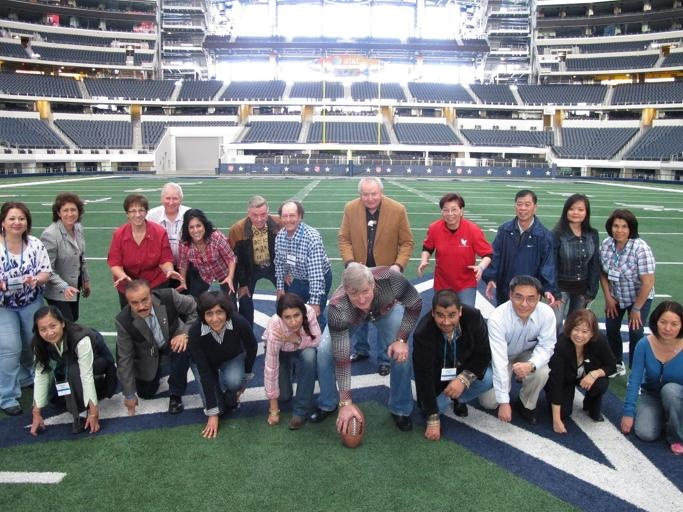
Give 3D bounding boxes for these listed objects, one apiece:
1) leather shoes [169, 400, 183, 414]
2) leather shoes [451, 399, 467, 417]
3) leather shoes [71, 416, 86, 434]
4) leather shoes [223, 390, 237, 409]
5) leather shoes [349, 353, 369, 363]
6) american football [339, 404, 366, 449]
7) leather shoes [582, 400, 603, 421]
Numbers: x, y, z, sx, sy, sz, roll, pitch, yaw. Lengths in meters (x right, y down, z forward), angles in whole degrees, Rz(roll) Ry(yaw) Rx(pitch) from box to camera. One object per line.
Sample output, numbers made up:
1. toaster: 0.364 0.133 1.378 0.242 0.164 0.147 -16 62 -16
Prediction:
1. leather shoes: -1.736 1.568 5.470 0.144 0.108 0.142 -5 14 -21
2. leather shoes: 1.227 1.588 5.422 0.091 0.205 0.081 -5 -23 -7
3. leather shoes: -2.569 1.634 5.095 0.104 0.164 0.083 -4 14 -17
4. leather shoes: -1.158 1.489 5.433 0.148 0.229 0.083 -3 13 -11
5. leather shoes: 0.214 1.264 6.521 0.246 0.102 0.087 10 -13 -39
6. american football: 0.096 1.604 4.893 0.246 0.328 0.177 -2 13 -9
7. leather shoes: 2.577 1.532 5.337 0.194 0.231 0.200 6 15 26
